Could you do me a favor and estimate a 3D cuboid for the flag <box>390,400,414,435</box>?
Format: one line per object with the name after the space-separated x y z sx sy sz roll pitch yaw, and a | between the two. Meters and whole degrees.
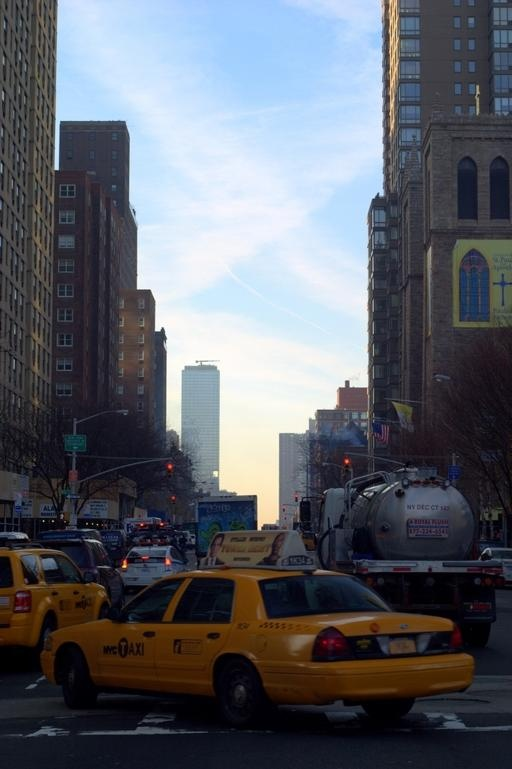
9.662 2.141 85.687 0.224 2.374 2.554 -26 -16 20 | flag

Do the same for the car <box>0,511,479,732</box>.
-0.049 1.971 11.102 1.474 1.234 3.095 7 -7 -43 | car

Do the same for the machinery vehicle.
2.285 2.740 21.805 2.003 2.849 6.087 -1 -6 -6 | machinery vehicle
